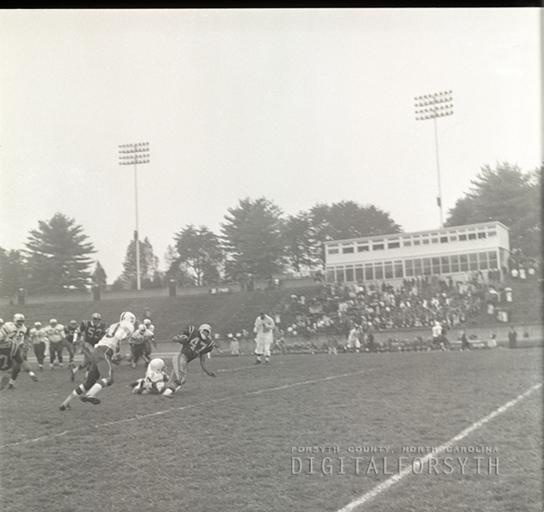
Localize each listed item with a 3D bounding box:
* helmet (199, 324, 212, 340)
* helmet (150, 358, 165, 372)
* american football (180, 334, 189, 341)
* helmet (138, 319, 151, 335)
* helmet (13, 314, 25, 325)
[{"bbox_3d":[-1.568,1.771,13.138,0.329,0.317,0.229,1,-4,-34],"label":"helmet"},{"bbox_3d":[-2.676,2.463,13.053,0.311,0.301,0.264,-1,39,-16],"label":"helmet"},{"bbox_3d":[-2.035,1.873,12.943,0.169,0.162,0.288,-1,-4,-9],"label":"american football"},{"bbox_3d":[-3.704,2.021,16.201,0.316,0.504,0.463,2,-26,-12],"label":"helmet"},{"bbox_3d":[-6.881,1.729,15.229,0.224,0.307,0.444,0,-4,-25],"label":"helmet"}]
